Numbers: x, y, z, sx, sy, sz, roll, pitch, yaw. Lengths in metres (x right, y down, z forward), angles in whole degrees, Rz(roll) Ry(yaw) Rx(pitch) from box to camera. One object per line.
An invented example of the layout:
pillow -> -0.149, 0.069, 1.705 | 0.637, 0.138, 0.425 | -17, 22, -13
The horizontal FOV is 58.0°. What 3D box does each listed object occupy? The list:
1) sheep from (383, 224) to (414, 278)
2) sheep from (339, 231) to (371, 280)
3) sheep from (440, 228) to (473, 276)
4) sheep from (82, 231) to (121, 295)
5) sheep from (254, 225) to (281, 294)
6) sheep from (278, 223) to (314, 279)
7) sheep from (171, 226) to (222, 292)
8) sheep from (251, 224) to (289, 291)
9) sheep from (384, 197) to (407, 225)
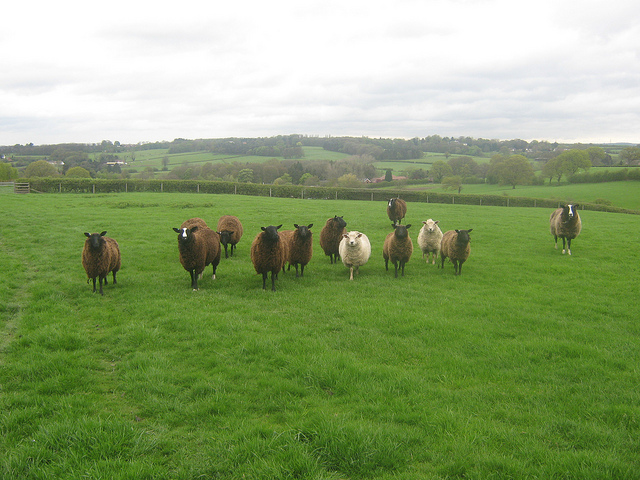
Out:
sheep -> 3.025, 0.320, 22.332 | 1.007, 2.000, 1.764 | 2, 11, 3
sheep -> 1.215, 0.514, 21.993 | 1.027, 1.643, 1.775 | 4, 11, 16
sheep -> 5.369, 0.366, 23.060 | 0.886, 1.739, 1.773 | 0, 11, -4
sheep -> -7.397, 0.617, 19.311 | 0.849, 2.021, 1.718 | 0, 11, -6
sheep -> -1.703, 0.581, 19.722 | 1.126, 2.212, 0.858 | 11, 15, 42
sheep -> -0.845, 0.350, 21.815 | 0.974, 2.011, 1.510 | -3, 12, -22
sheep -> -4.253, 0.494, 20.097 | 0.905, 2.131, 2.305 | 2, 11, 4
sheep -> -1.769, 0.509, 19.976 | 1.044, 2.171, 1.542 | 2, 11, 5
sheep -> 4.586, -1.717, 34.568 | 0.994, 1.665, 2.928 | 3, 11, 7
